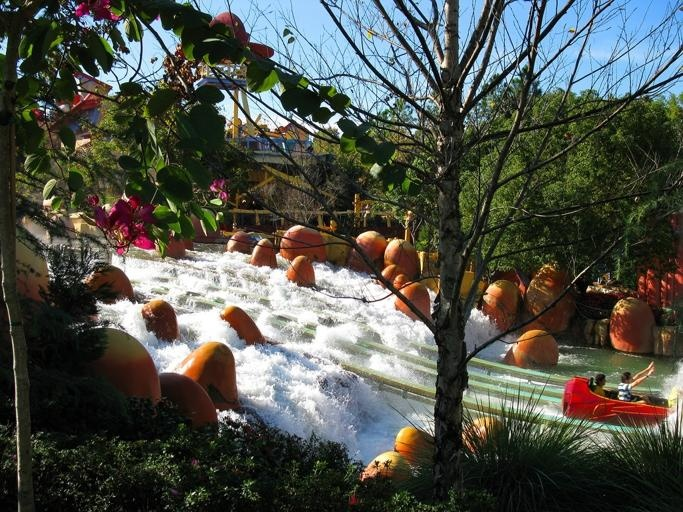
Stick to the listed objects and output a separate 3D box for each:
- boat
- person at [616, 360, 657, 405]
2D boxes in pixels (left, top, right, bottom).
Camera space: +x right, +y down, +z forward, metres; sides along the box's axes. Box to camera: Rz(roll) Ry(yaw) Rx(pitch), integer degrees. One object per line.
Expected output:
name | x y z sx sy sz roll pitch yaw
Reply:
boat | 4.186 2.269 10.223 1.561 0.641 2.275 7 -8 21
person | 4.585 2.069 10.550 0.383 0.854 0.331 0 18 17
